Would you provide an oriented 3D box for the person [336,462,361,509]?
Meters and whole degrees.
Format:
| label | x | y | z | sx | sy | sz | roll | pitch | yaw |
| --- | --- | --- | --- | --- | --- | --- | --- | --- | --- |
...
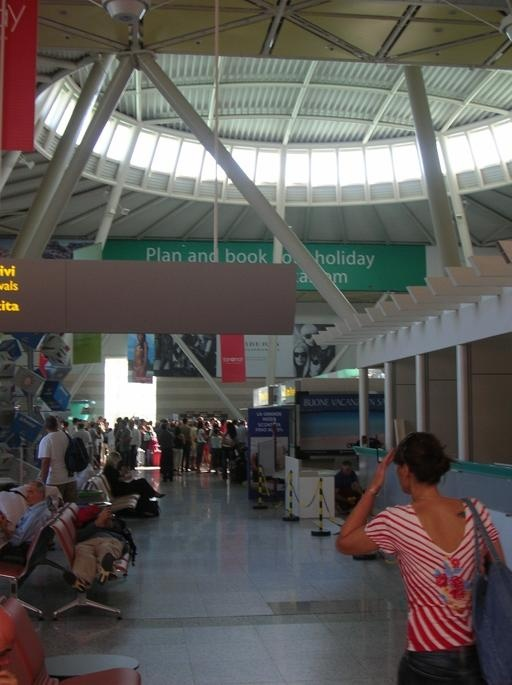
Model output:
| label | x | y | z | sx | sy | sz | roll | pitch | yaw |
| --- | --- | --- | --- | --- | --- | --- | --- | --- | --- |
| person | 2.142 | 3.342 | 12.128 | 0.686 | 1.141 | 0.694 | 0 | -5 | -2 |

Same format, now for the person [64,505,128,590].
| label | x | y | z | sx | sy | sz | roll | pitch | yaw |
| --- | --- | --- | --- | --- | --- | --- | --- | --- | --- |
| person | -1.769 | 2.339 | 5.908 | 0.379 | 1.024 | 0.814 | 7 | -10 | -24 |

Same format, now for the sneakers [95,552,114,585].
| label | x | y | z | sx | sy | sz | roll | pitch | yaw |
| --- | --- | --- | --- | --- | --- | --- | --- | --- | --- |
| sneakers | -1.629 | 2.495 | 5.775 | 0.181 | 0.313 | 0.082 | 15 | -2 | -4 |
